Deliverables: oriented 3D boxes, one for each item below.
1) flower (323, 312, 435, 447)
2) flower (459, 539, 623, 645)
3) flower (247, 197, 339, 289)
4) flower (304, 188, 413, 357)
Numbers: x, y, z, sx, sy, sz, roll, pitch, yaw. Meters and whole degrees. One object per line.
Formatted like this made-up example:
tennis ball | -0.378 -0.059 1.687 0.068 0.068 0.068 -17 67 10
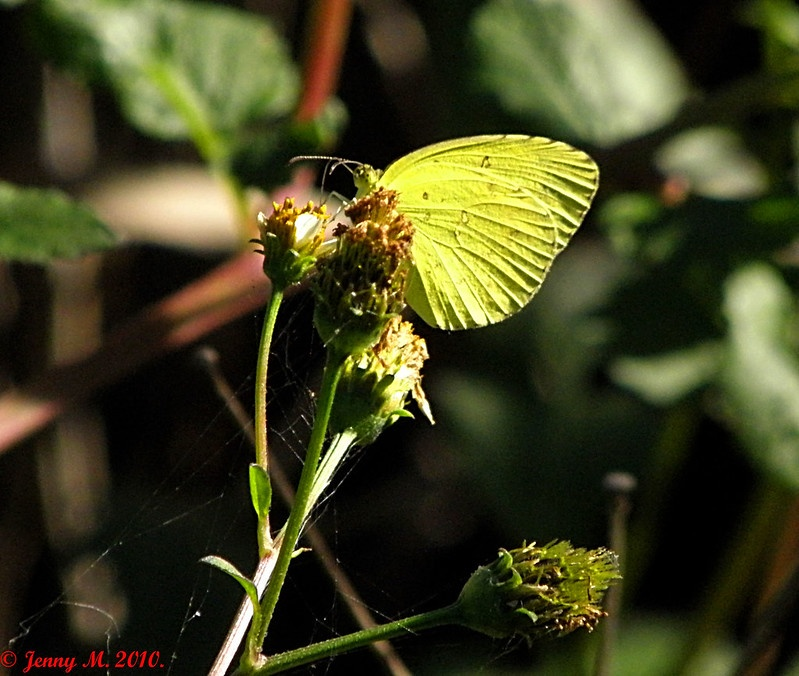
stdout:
flower | -0.044 0.077 1.473 0.175 0.138 0.178 -26 41 -27
flower | 0.211 0.372 1.361 0.203 0.118 0.147 -17 50 -27
flower | -0.171 -0.142 1.512 0.128 0.149 0.128 -2 -19 29
flower | -0.069 -0.107 1.410 0.133 0.279 0.140 15 -7 35
